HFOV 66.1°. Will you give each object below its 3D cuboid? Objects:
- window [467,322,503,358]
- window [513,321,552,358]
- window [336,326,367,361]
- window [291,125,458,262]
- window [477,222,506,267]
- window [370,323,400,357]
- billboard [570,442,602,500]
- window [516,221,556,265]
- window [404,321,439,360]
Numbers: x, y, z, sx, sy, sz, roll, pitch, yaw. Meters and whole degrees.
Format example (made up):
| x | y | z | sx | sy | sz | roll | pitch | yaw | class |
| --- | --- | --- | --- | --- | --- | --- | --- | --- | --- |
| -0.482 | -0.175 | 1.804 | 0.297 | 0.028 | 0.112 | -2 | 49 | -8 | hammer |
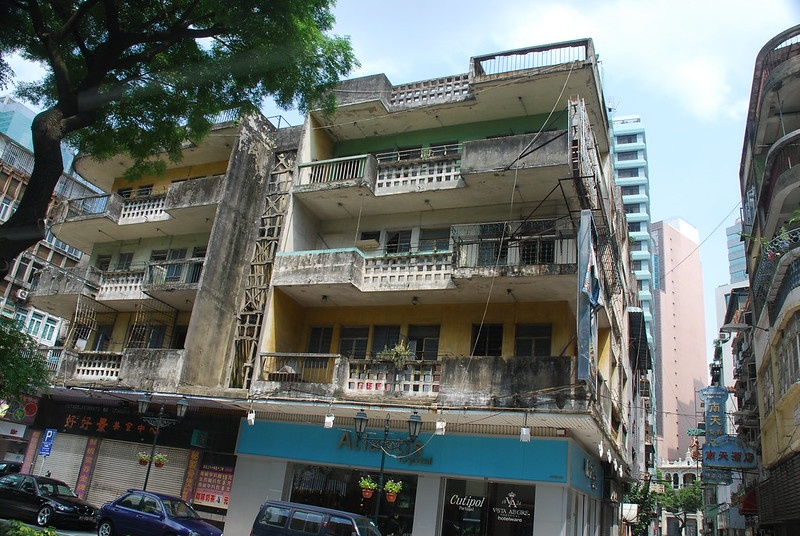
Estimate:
| x | y | z | sx | sy | sz | roll | pitch | yaw | class |
| --- | --- | --- | --- | --- | --- | --- | --- | --- | --- |
| 3.751 | 3.183 | 26.812 | 1.496 | 1.674 | 0.191 | -1 | -15 | 14 | window |
| 5.718 | 3.098 | 26.274 | 1.526 | 1.684 | 0.148 | -2 | -21 | 13 | window |
| -2.224 | 3.542 | 28.555 | 1.661 | 1.932 | 0.179 | -1 | -31 | 11 | window |
| -1.046 | -3.365 | 29.144 | 7.324 | 4.513 | 2.346 | -5 | -34 | 16 | window |
| 3.997 | -1.057 | 26.509 | 1.334 | 2.521 | 1.237 | 0 | -25 | 15 | window |
| -0.656 | 3.315 | 27.960 | 1.667 | 1.909 | 0.204 | 0 | -24 | 15 | window |
| 8.359 | 9.152 | 27.495 | 0.179 | 1.736 | 7.906 | -5 | -26 | 25 | billboard |
| 5.799 | -0.978 | 25.963 | 2.149 | 2.671 | 0.230 | 0 | -30 | 18 | window |
| 1.322 | 3.403 | 28.340 | 1.998 | 1.815 | 1.371 | -3 | -22 | 14 | window |
